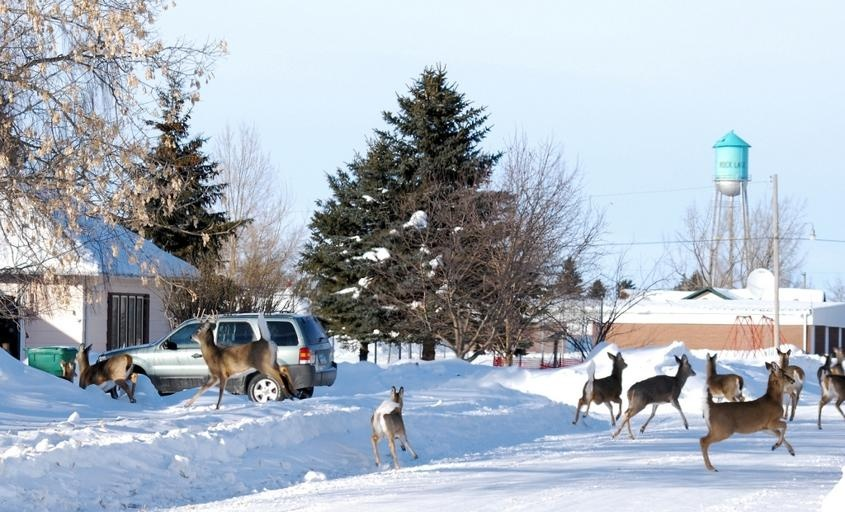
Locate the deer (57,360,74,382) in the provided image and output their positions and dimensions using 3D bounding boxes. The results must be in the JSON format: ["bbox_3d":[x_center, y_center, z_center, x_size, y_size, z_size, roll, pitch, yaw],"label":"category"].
[{"bbox_3d":[-10.611,3.417,37.118,0.387,0.572,0.563,1,-4,-16],"label":"deer"}]
